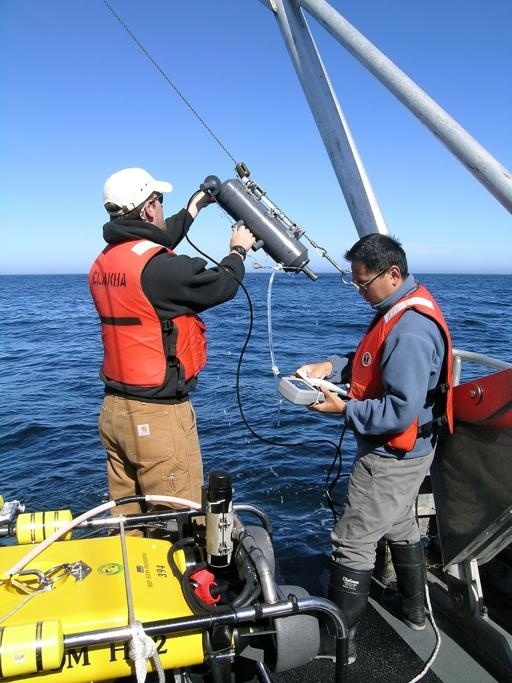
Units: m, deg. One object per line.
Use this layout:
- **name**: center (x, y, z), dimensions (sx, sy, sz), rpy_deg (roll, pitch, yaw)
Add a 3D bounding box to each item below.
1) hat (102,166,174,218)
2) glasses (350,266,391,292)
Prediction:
- **hat**: center (-0.651, -0.834, 3.004), dimensions (0.418, 0.192, 0.279), rpy_deg (-25, 28, -19)
- **glasses**: center (0.595, -0.311, 2.881), dimensions (0.124, 0.036, 0.116), rpy_deg (-35, 14, -10)
